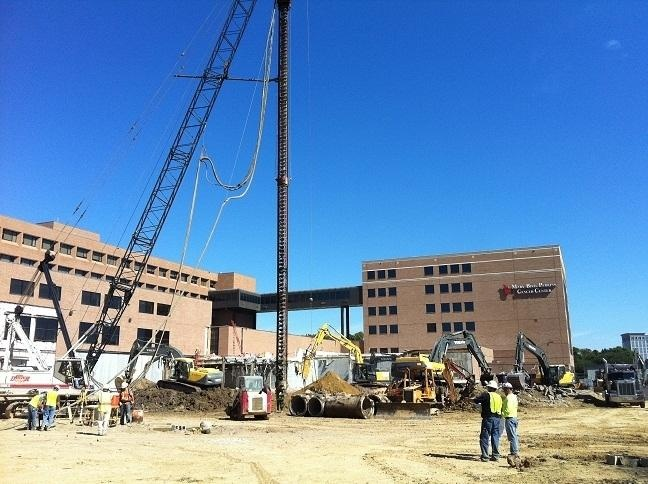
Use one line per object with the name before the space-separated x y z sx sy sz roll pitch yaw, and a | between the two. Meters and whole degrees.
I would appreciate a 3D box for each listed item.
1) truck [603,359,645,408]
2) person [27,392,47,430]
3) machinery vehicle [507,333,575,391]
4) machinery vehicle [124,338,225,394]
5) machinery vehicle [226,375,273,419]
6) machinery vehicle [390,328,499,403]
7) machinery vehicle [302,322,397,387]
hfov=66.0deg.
truck | 24.857 11.849 41.591 2.762 3.690 4.708 -9 -19 26
person | -13.799 8.081 23.848 0.529 1.606 1.462 5 -18 -17
machinery vehicle | 21.642 12.151 49.279 8.316 4.469 2.403 17 -9 -28
machinery vehicle | -12.763 10.323 41.126 8.233 3.823 3.320 4 -7 5
machinery vehicle | -4.460 9.399 30.217 2.012 2.532 2.692 5 -19 -19
machinery vehicle | 9.643 9.584 38.445 9.524 5.001 2.728 2 -12 -30
machinery vehicle | 2.855 12.589 55.211 10.772 6.310 3.539 6 -12 -23
